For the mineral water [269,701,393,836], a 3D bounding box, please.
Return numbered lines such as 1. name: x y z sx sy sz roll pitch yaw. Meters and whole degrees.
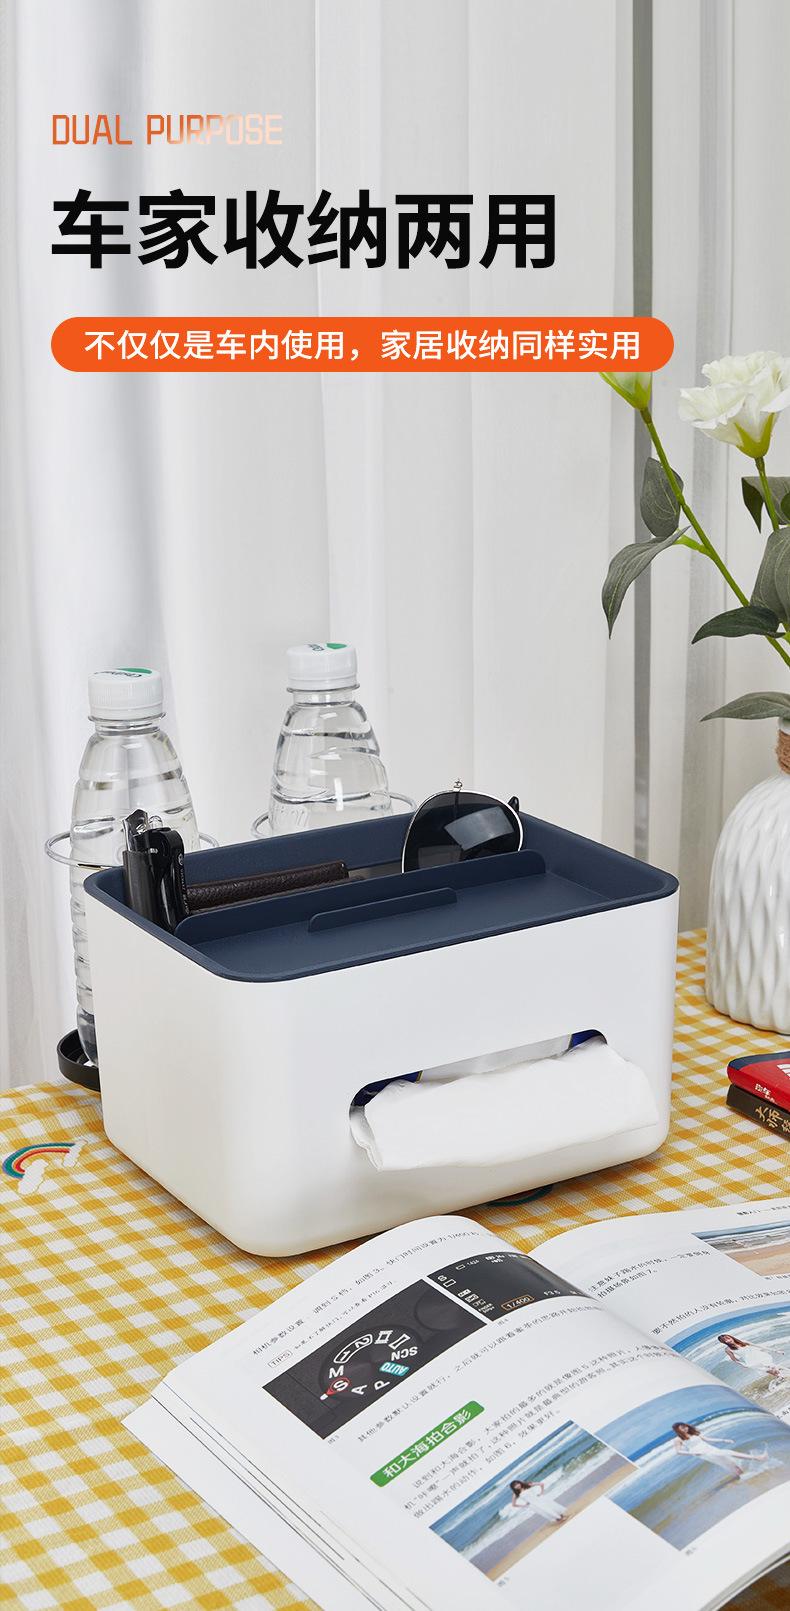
1. mineral water: -0.043 -0.025 0.923 0.079 0.149 0.086 -4 4 0
